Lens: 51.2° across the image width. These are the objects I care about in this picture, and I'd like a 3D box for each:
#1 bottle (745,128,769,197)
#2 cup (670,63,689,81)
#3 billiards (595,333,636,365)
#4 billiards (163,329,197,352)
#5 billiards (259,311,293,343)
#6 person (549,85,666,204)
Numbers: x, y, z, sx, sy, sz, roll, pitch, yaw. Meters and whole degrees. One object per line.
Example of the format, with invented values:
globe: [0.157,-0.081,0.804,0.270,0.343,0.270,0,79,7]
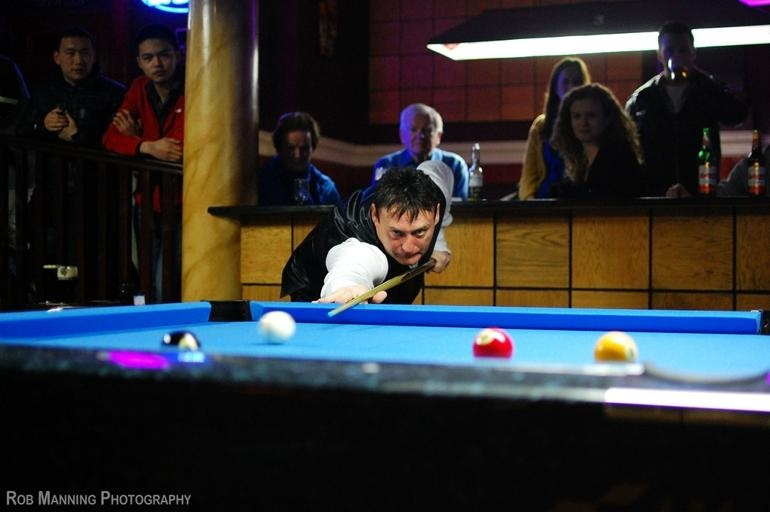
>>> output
bottle: [2.467,-0.623,5.302,0.115,0.404,0.551,6,13,23]
cup: [2.295,-1.440,6.300,0.122,0.112,0.122,-2,1,0]
billiards: [0.840,0.339,2.958,0.119,0.135,0.118,25,60,29]
billiards: [-0.735,0.304,2.882,0.094,0.028,0.084,6,9,29]
billiards: [-0.444,0.293,3.332,0.136,0.127,0.124,-9,45,-8]
person: [1.708,-0.910,6.437,0.776,0.919,0.438,4,13,17]
